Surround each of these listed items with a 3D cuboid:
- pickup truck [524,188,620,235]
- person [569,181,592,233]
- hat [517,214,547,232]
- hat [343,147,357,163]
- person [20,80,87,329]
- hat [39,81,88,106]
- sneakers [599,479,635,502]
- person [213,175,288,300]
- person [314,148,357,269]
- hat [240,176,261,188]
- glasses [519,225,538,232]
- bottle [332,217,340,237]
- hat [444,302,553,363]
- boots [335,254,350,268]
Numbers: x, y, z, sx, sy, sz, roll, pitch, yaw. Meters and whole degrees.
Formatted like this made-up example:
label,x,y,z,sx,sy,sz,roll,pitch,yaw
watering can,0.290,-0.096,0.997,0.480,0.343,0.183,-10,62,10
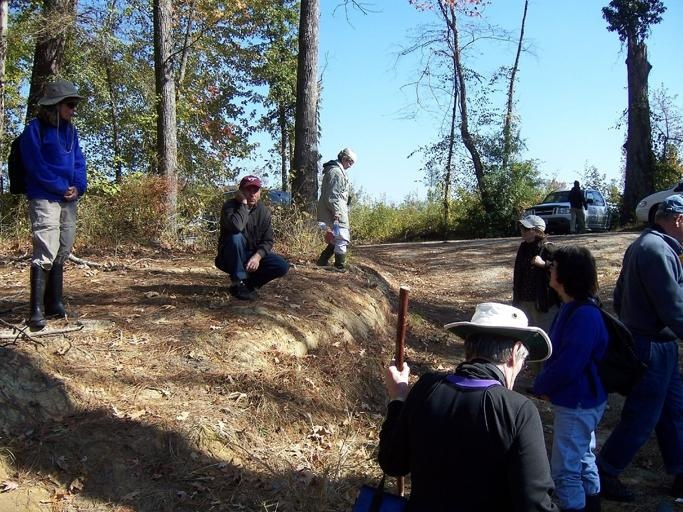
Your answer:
label,x,y,z,sx,sy,sz,roll,pitch,yaw
pickup truck,8.127,-1.507,21.481,2.516,2.120,4.087,-4,-6,41
person,7.538,-1.542,18.931,0.500,1.677,2.369,8,10,29
hat,2.603,-0.424,7.996,0.307,0.170,0.226,24,3,-19
hat,0.142,-1.597,9.411,0.197,0.198,0.523,2,9,-11
person,-3.117,-0.593,6.262,0.536,2.530,0.996,3,9,0
hat,-3.005,-1.741,6.267,0.332,0.167,0.327,-15,19,-20
sneakers,2.510,2.165,5.439,0.384,0.182,0.137,2,1,7
person,-1.137,-0.251,7.457,0.775,1.527,0.600,-4,11,-40
person,-0.124,-0.752,9.674,0.545,1.986,0.729,3,9,-3
hat,-1.117,-0.908,7.217,0.244,0.153,0.205,2,9,-12
glasses,2.520,-0.382,7.925,0.204,0.075,0.075,5,9,4
bottle,-0.113,-0.462,9.519,0.168,0.312,0.083,9,10,32
hat,1.085,0.522,3.800,0.503,0.206,0.462,25,-24,-9
boots,-0.002,0.070,9.960,0.205,0.357,0.209,-2,9,-7
